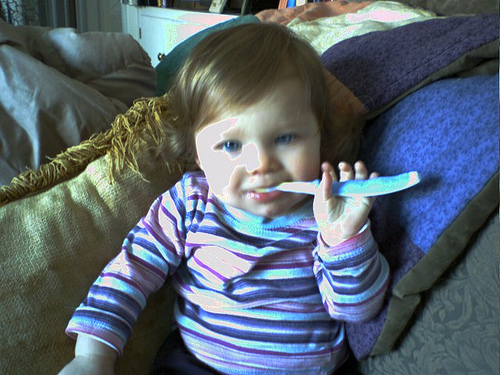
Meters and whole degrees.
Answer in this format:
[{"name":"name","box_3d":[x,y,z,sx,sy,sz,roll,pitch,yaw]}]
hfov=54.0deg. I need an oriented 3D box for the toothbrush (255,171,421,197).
[{"name":"toothbrush","box_3d":[0.171,-0.007,0.954,0.257,0.035,0.031,-3,11,34]}]
